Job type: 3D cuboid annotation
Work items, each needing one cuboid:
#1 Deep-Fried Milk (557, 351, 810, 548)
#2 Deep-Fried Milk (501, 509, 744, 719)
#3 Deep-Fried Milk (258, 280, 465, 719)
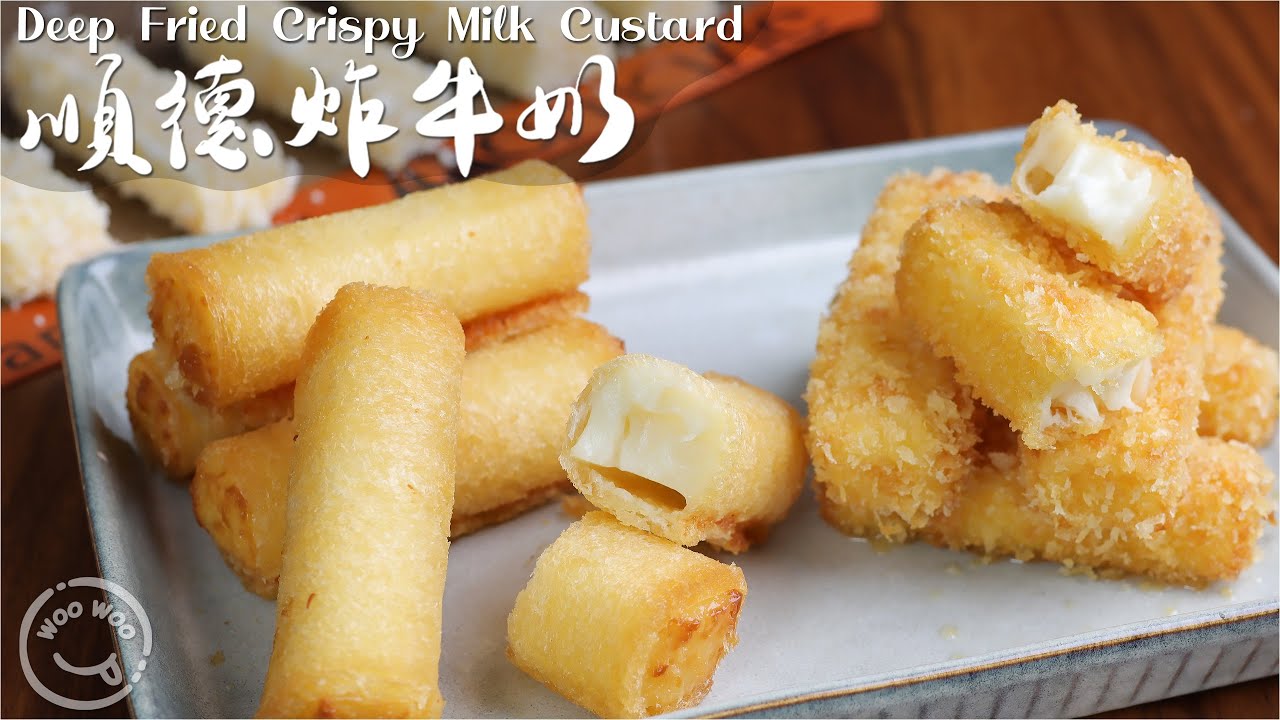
[{"bbox_3d":[0.072,0.118,1.605,0.343,0.272,0.131,-18,28,-25],"label":"Deep-Fried Milk"},{"bbox_3d":[0.000,0.307,1.563,0.245,0.196,0.250,18,36,34],"label":"Deep-Fried Milk"},{"bbox_3d":[-0.333,0.183,1.485,0.215,0.523,0.159,6,-20,-11],"label":"Deep-Fried Milk"}]
